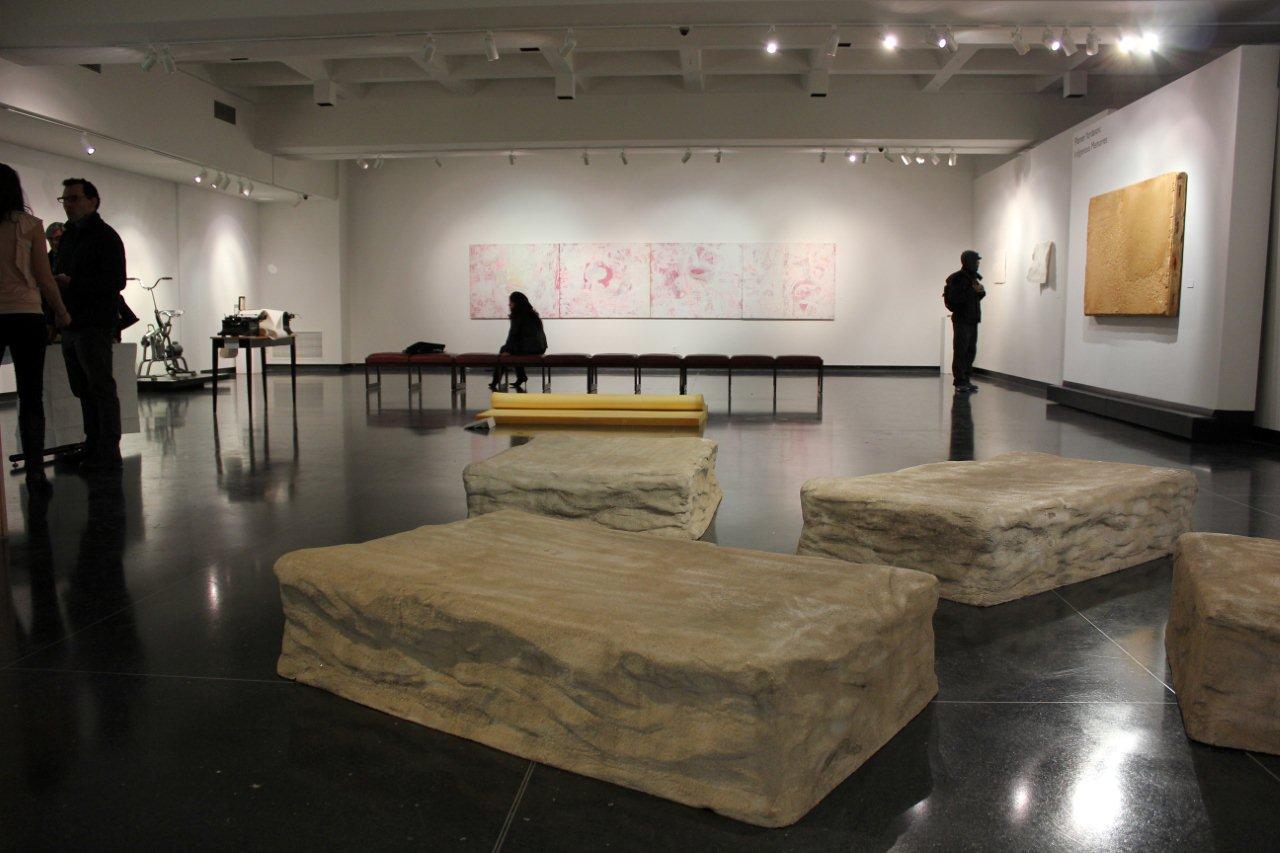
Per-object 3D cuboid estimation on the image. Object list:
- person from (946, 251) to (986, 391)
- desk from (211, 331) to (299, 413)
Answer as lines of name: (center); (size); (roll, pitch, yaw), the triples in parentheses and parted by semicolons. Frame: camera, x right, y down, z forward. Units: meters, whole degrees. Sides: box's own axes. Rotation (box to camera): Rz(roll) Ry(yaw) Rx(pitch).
person: (5.297, -1.783, 13.364); (0.585, 2.189, 1.519); (5, 11, 21)
desk: (-5.800, -0.885, 12.220); (0.805, 0.993, 1.077); (4, 9, 22)
